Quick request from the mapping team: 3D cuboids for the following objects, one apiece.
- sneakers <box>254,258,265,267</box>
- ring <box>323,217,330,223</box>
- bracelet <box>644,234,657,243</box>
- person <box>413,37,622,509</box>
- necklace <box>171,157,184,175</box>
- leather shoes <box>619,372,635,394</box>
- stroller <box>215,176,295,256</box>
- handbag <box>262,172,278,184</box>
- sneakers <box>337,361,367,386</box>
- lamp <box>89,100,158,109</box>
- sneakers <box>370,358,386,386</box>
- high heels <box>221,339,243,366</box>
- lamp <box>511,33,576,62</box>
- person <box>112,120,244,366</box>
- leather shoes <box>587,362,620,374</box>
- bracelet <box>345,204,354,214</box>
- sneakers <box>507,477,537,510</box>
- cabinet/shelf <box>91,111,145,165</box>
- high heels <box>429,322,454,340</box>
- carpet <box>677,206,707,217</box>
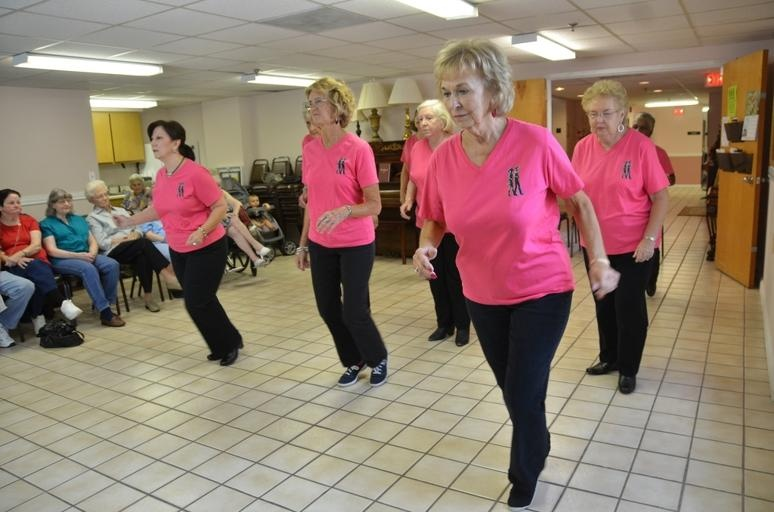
[{"bbox_3d":[-1.863,0.085,6.586,0.119,0.091,0.264,13,-7,-25],"label":"sneakers"},{"bbox_3d":[-0.410,-0.241,3.017,0.039,0.032,0.009,12,-15,2],"label":"ring"},{"bbox_3d":[1.795,-0.113,3.076,0.097,0.046,0.051,-4,15,-3],"label":"bracelet"},{"bbox_3d":[0.621,0.187,2.293,0.963,2.408,0.385,2,17,23],"label":"person"},{"bbox_3d":[-1.816,-0.776,3.880,0.138,0.128,0.080,-10,16,-23],"label":"necklace"},{"bbox_3d":[1.820,0.979,3.438,0.073,0.073,0.195,-5,3,23],"label":"leather shoes"},{"bbox_3d":[-2.504,-0.714,8.270,1.388,1.298,1.292,-3,15,-24],"label":"stroller"},{"bbox_3d":[-2.457,-1.665,9.487,0.330,0.306,0.112,-6,-14,32],"label":"handbag"},{"bbox_3d":[-0.297,0.997,3.828,0.110,0.097,0.305,-2,2,25],"label":"sneakers"},{"bbox_3d":[-5.958,-3.416,10.126,1.062,0.068,0.144,-6,-4,-27],"label":"lamp"},{"bbox_3d":[-0.078,0.976,3.752,0.103,0.097,0.264,0,9,13],"label":"sneakers"},{"bbox_3d":[-1.470,0.922,4.344,0.122,0.126,0.323,6,17,21],"label":"high heels"},{"bbox_3d":[2.194,-2.800,6.431,0.383,0.098,1.468,-12,-2,36],"label":"lamp"},{"bbox_3d":[-1.931,-0.091,4.116,1.174,2.110,0.859,1,2,9],"label":"person"},{"bbox_3d":[1.807,0.930,3.771,0.278,0.095,0.094,1,2,-5],"label":"leather shoes"},{"bbox_3d":[-0.273,-0.319,3.185,0.034,0.060,0.105,1,15,18],"label":"bracelet"},{"bbox_3d":[0.737,1.287,2.481,0.093,0.090,0.250,-1,4,29],"label":"sneakers"},{"bbox_3d":[-7.018,-2.962,11.238,0.535,1.282,1.546,12,21,19],"label":"cabinet/shelf"},{"bbox_3d":[0.553,0.779,4.654,0.314,0.113,0.109,-7,2,-31],"label":"high heels"},{"bbox_3d":[7.676,-1.129,11.394,0.794,0.007,0.450,1,27,27],"label":"carpet"}]
